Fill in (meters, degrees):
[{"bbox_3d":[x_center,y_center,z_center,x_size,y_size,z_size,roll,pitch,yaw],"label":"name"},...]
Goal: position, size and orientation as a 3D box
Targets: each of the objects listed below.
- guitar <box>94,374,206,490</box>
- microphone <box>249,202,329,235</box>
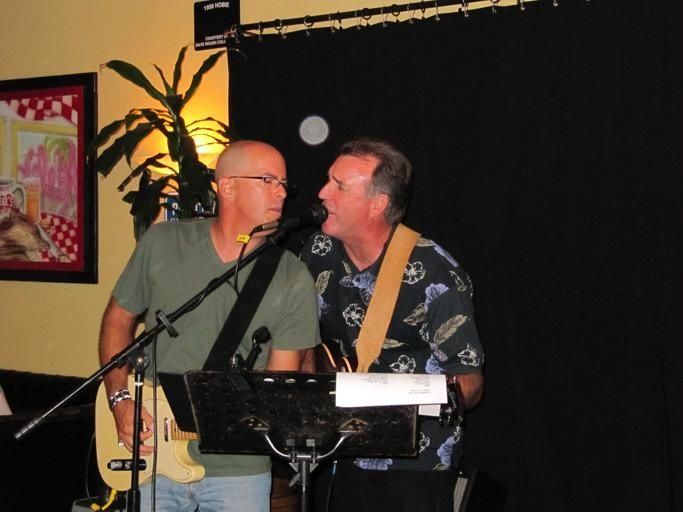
[{"bbox_3d":[-0.917,0.829,3.557,0.582,0.532,0.250,-2,-5,35],"label":"guitar"},{"bbox_3d":[-0.201,-0.178,3.466,0.126,0.121,0.477,-30,-10,37],"label":"microphone"}]
